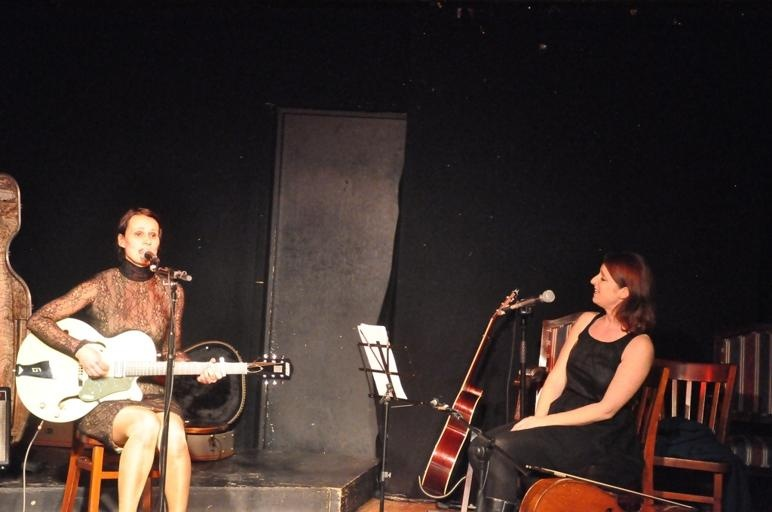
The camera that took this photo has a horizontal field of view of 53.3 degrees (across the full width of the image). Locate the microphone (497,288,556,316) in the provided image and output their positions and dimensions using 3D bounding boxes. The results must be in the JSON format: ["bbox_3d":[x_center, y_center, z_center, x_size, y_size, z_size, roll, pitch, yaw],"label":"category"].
[{"bbox_3d":[1.152,0.379,6.376,0.197,0.145,0.590,10,-13,-38],"label":"microphone"}]
